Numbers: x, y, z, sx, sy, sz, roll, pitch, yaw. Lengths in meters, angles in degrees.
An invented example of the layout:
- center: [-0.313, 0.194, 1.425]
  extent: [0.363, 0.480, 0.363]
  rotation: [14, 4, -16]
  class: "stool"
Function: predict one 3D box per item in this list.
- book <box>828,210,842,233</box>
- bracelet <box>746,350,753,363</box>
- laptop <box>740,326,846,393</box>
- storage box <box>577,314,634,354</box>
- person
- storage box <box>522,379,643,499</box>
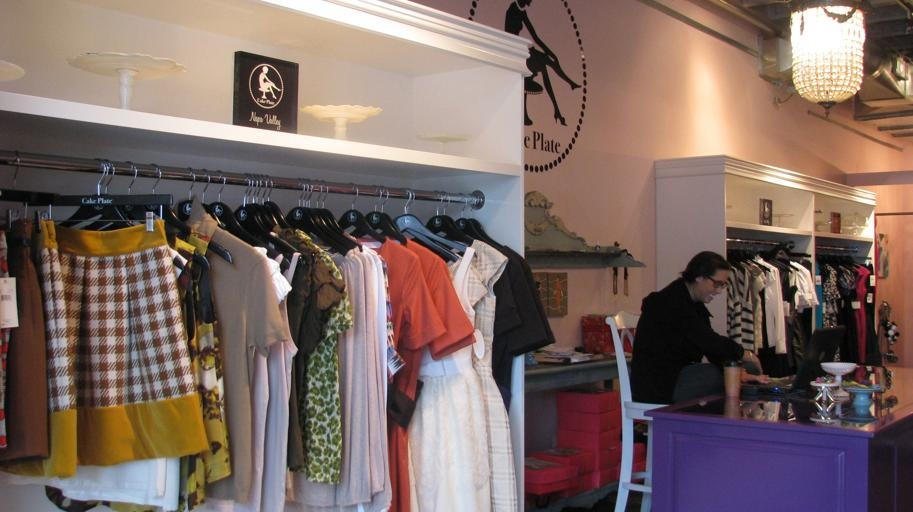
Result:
- center: [5.208, -0.466, 9.335]
  extent: [0.323, 0.419, 0.044]
  rotation: [2, -3, -41]
  class: "book"
- center: [2.149, 0.739, 4.962]
  extent: [0.027, 0.100, 0.103]
  rotation: [5, -8, 8]
  class: "bracelet"
- center: [2.351, 0.769, 4.693]
  extent: [0.623, 0.310, 0.563]
  rotation: [4, -29, -33]
  class: "laptop"
- center: [1.310, 0.733, 6.161]
  extent: [0.277, 0.322, 0.478]
  rotation: [3, -6, -33]
  class: "storage box"
- center: [1.789, 0.772, 5.215]
  extent: [0.937, 1.537, 0.679]
  rotation: [4, 11, 16]
  class: "person"
- center: [0.994, 1.597, 5.598]
  extent: [0.728, 0.820, 1.247]
  rotation: [0, -4, 4]
  class: "storage box"
